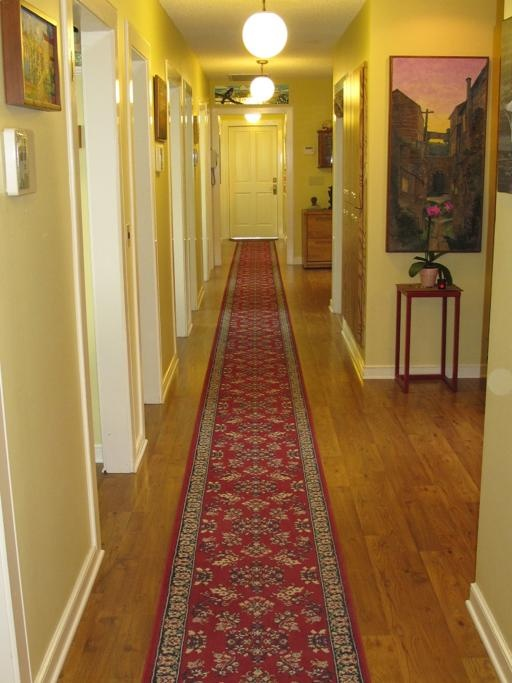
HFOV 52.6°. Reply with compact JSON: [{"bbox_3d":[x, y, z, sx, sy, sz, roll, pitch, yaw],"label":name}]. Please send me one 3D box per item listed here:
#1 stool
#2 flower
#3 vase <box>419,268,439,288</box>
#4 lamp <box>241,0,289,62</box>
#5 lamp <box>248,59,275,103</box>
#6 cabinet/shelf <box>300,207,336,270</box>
[{"bbox_3d":[1.392,-0.051,4.207,0.533,0.825,0.600,4,10,19],"label":"stool"},{"bbox_3d":[1.353,-0.792,4.173,0.353,0.661,0.378,-1,6,-8],"label":"flower"},{"bbox_3d":[1.338,-0.496,4.009,0.126,0.116,0.136,-1,8,-1],"label":"vase"},{"bbox_3d":[0.058,-2.019,3.391,0.266,0.242,0.181,1,9,4],"label":"lamp"},{"bbox_3d":[0.080,-3.080,6.167,0.244,0.493,0.262,1,9,2],"label":"lamp"},{"bbox_3d":[1.120,-1.869,9.462,0.837,1.348,0.814,0,10,3],"label":"cabinet/shelf"}]
